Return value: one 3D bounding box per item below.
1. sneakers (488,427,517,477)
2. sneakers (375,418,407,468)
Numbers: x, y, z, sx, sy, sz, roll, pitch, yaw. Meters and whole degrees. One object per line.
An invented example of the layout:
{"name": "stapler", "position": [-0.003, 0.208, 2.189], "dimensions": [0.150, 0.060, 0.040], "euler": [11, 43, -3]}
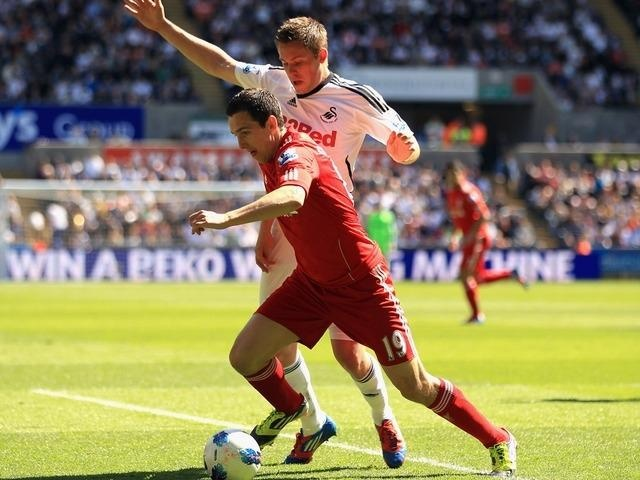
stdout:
{"name": "sneakers", "position": [2.245, 2.698, 13.828], "dimensions": [0.227, 0.690, 0.299], "euler": [-2, -4, 33]}
{"name": "sneakers", "position": [0.892, 2.602, 14.069], "dimensions": [0.236, 0.665, 0.286], "euler": [-19, -28, 8]}
